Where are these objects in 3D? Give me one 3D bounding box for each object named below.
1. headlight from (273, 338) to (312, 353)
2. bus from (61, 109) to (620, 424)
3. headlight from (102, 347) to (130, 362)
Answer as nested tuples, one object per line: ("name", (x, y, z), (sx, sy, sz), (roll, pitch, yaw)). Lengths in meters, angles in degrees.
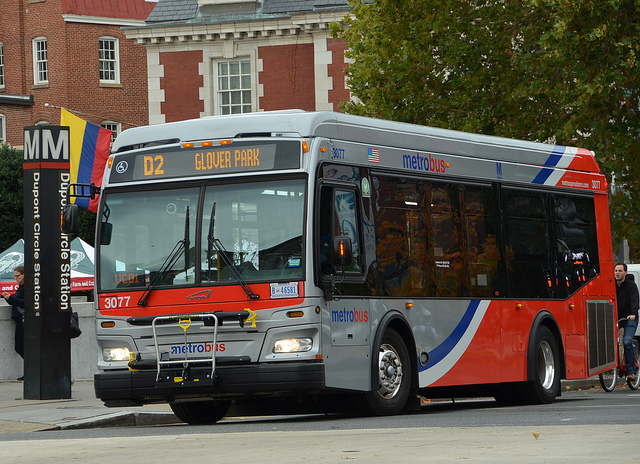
("headlight", (-0.343, 1.472, 12.879), (0.501, 0.160, 0.070), (-2, -4, -6))
("bus", (1.409, 0.709, 15.900), (9.953, 4.454, 3.016), (1, -5, -38))
("headlight", (-2.749, 1.667, 13.517), (0.436, 0.191, 0.087), (-5, -5, 34))
